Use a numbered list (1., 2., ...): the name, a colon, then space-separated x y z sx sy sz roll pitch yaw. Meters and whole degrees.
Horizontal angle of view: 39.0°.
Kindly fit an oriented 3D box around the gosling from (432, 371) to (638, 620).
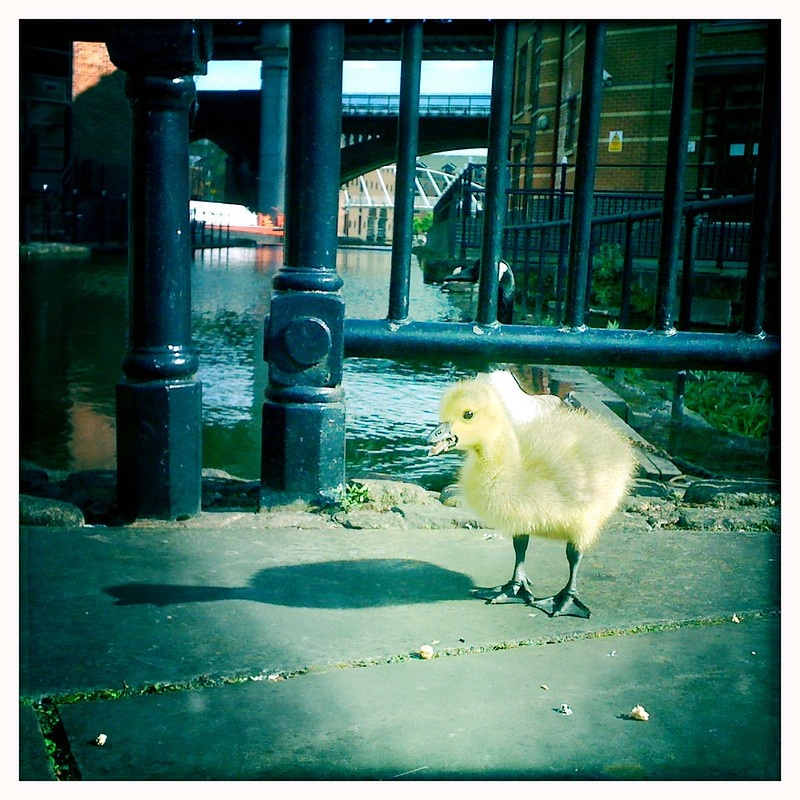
1. gosling: 0.399 0.278 3.389 0.626 0.700 0.419 2 9 2
